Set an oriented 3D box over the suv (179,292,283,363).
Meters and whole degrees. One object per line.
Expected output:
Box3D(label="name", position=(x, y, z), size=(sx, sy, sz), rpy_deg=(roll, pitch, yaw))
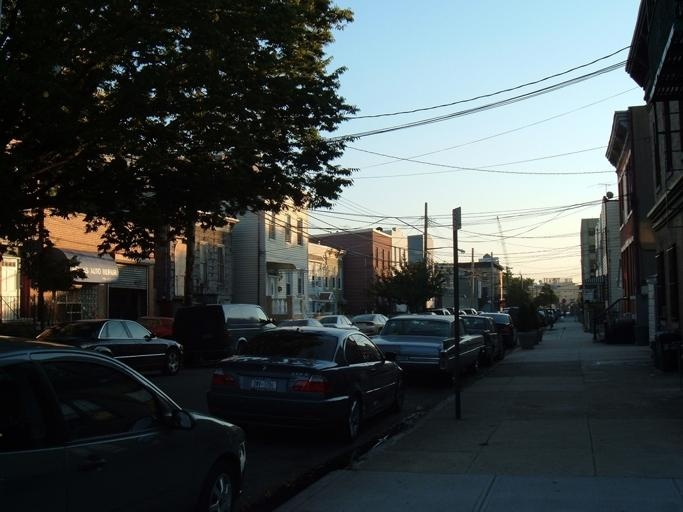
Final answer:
Box3D(label="suv", position=(-3.791, 2.427, 24.100), size=(1.543, 1.416, 3.008), rpy_deg=(-2, -1, 33))
